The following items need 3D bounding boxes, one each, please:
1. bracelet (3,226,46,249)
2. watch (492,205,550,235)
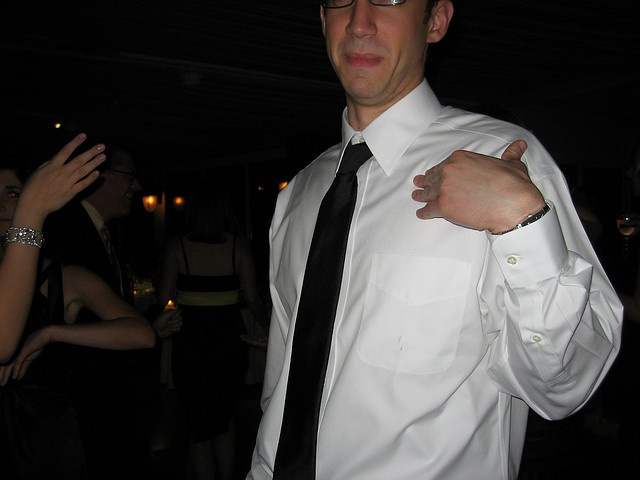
[{"bbox_3d":[-1.224,0.016,2.109,0.124,0.083,0.131,0,-7,38],"label":"bracelet"},{"bbox_3d":[0.622,-0.057,1.535,0.102,0.028,0.094,-18,-11,-25],"label":"watch"}]
